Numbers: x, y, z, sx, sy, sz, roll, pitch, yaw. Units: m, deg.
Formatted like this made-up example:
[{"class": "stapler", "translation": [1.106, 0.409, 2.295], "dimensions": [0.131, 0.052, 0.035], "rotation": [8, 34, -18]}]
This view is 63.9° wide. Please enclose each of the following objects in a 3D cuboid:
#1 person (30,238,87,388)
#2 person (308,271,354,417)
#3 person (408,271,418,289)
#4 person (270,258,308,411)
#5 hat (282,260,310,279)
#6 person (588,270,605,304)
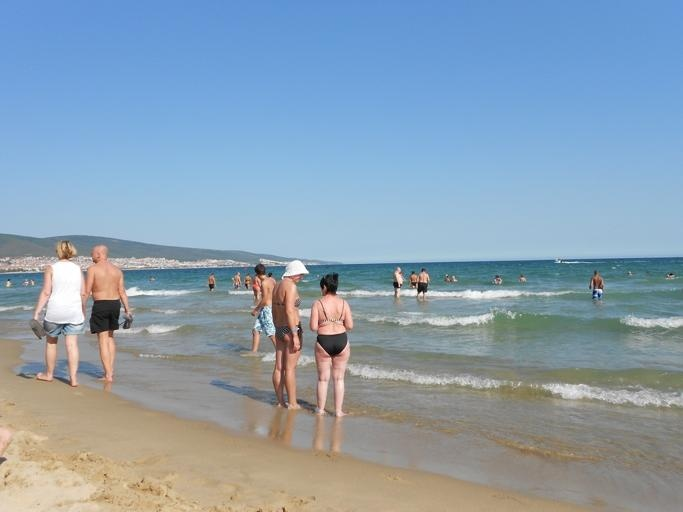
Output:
[{"class": "person", "translation": [-3.965, 0.833, 7.721], "dimensions": [0.620, 2.114, 0.660], "rotation": [-2, 4, -16]}, {"class": "person", "translation": [-0.153, 1.272, 7.579], "dimensions": [0.548, 2.089, 0.656], "rotation": [0, 4, 0]}, {"class": "person", "translation": [4.984, 1.683, 38.985], "dimensions": [0.703, 1.210, 0.498], "rotation": [-2, 1, 13]}, {"class": "person", "translation": [-0.743, 1.155, 7.779], "dimensions": [0.445, 2.211, 0.827], "rotation": [-1, 4, -15]}, {"class": "hat", "translation": [-0.651, 0.186, 7.663], "dimensions": [0.299, 0.134, 0.278], "rotation": [-1, 2, 4]}, {"class": "person", "translation": [10.952, 1.285, 23.571], "dimensions": [0.449, 1.290, 1.163], "rotation": [1, 4, 22]}]
